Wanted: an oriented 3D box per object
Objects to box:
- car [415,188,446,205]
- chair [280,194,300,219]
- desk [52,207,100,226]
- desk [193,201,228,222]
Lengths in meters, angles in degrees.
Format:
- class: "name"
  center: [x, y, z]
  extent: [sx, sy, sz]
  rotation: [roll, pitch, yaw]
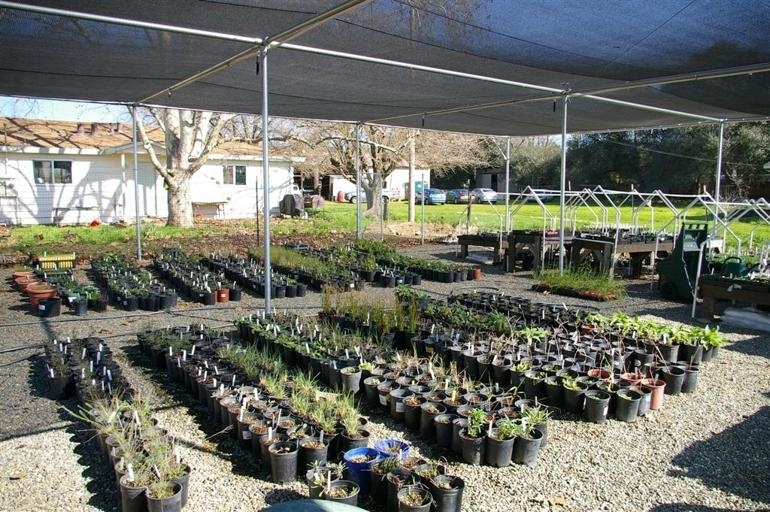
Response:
- class: "car"
  center: [2.644, -3.409, 34.796]
  extent: [1.538, 0.977, 2.302]
  rotation: [-1, 5, -2]
- class: "chair"
  center: [-3.551, -1.914, 23.019]
  extent: [1.091, 0.962, 0.790]
  rotation: [1, 12, -5]
- class: "desk"
  center: [-9.913, -1.271, 19.445]
  extent: [1.464, 0.505, 0.706]
  rotation: [-3, 10, -25]
- class: "desk"
  center: [-6.294, -1.634, 21.698]
  extent: [0.731, 0.646, 1.522]
  rotation: [1, 5, 20]
